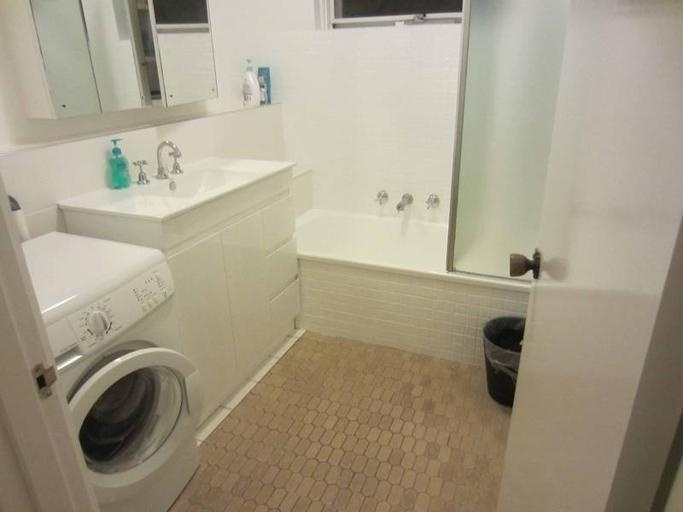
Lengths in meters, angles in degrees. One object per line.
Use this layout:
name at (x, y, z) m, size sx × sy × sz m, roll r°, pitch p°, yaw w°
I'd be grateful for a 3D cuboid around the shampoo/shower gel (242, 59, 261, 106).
shampoo/shower gel at (-0.572, -1.099, 3.140) m, size 0.101 × 0.254 × 0.178 m, roll 2°, pitch 24°, yaw 9°

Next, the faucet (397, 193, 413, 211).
faucet at (0.417, -0.351, 3.266) m, size 0.102 × 0.118 × 0.104 m, roll 5°, pitch 24°, yaw 15°

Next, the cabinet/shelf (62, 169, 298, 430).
cabinet/shelf at (-0.649, 0.151, 1.955) m, size 0.432 × 0.876 × 0.862 m, roll 7°, pitch 25°, yaw 16°

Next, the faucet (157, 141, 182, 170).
faucet at (-0.845, -0.501, 2.385) m, size 0.104 × 0.130 × 0.252 m, roll -10°, pitch 26°, yaw -19°

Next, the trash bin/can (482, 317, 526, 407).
trash bin/can at (0.757, 0.496, 2.374) m, size 0.177 × 0.345 × 0.342 m, roll 7°, pitch 25°, yaw 20°
